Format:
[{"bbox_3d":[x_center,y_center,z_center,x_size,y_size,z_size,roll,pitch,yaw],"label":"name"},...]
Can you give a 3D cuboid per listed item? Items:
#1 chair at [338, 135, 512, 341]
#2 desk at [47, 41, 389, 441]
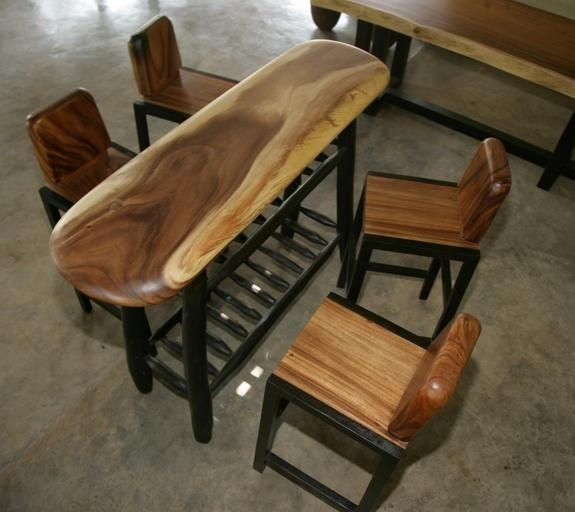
[{"bbox_3d":[0.629,-0.037,2.373,0.511,0.988,0.455,14,68,3],"label":"chair"},{"bbox_3d":[-0.207,0.078,1.957,0.459,1.324,1.207,28,48,22],"label":"desk"}]
